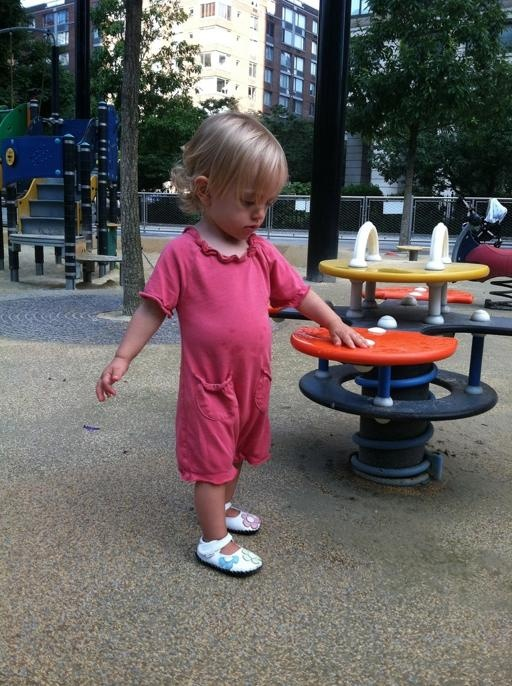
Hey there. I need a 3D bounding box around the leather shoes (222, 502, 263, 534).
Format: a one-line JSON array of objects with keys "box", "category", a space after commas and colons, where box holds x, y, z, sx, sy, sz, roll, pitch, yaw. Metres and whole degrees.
[{"box": [-0.055, 0.598, 2.176, 0.096, 0.049, 0.152, -5, 7, -43], "category": "leather shoes"}]

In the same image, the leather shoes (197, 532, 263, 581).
[{"box": [-0.086, 0.645, 1.909, 0.195, 0.068, 0.101, 6, 12, 23], "category": "leather shoes"}]

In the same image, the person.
[{"box": [-0.115, 0.012, 1.896, 0.406, 1.348, 0.687, 8, 15, 22], "category": "person"}]
